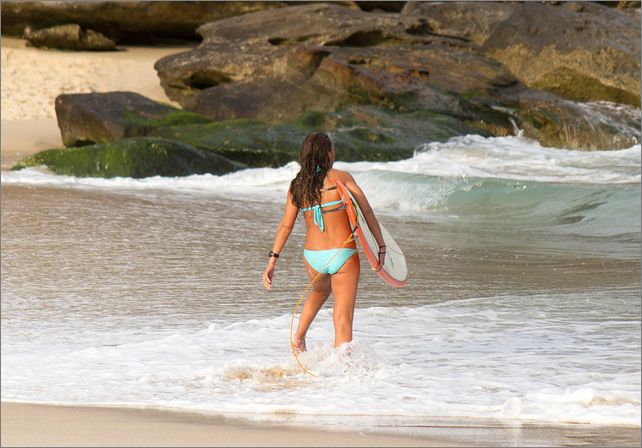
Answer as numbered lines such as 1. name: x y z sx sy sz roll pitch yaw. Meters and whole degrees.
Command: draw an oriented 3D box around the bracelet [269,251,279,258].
1. bracelet: -0.962 0.577 24.788 0.194 0.078 0.125 11 -2 8
